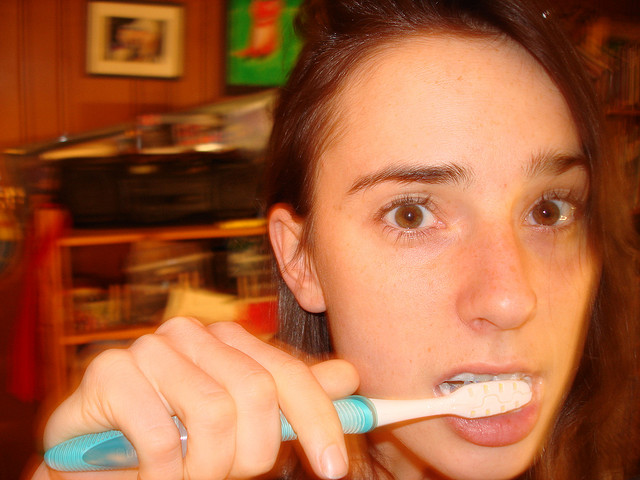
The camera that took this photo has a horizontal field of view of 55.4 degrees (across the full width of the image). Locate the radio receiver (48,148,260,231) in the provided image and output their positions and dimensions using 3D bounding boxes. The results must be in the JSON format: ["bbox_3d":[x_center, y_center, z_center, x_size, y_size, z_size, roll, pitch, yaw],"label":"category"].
[{"bbox_3d":[-0.777,-0.236,2.928,0.694,0.217,0.510,-2,4,-28],"label":"radio receiver"}]

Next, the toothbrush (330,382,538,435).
[{"bbox_3d":[0.229,0.373,1.362,0.573,0.069,0.082,-26,29,45],"label":"toothbrush"}]
